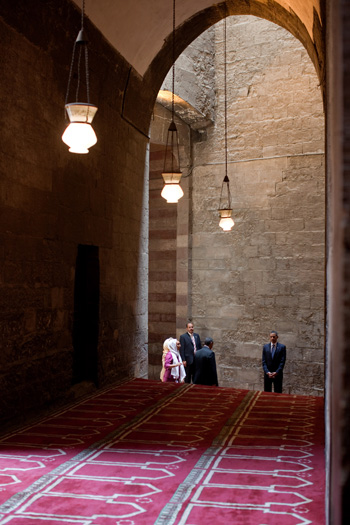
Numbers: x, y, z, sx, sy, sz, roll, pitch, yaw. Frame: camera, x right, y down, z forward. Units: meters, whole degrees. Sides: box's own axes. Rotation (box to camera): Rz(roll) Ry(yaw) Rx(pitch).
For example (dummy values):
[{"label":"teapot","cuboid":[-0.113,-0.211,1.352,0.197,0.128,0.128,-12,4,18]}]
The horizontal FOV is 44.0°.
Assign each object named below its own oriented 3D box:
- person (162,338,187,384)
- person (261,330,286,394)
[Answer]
[{"label":"person","cuboid":[-0.032,1.832,7.973,0.422,0.844,0.577,1,-4,-6]},{"label":"person","cuboid":[1.988,2.218,8.803,0.486,1.534,0.479,1,2,19]}]
